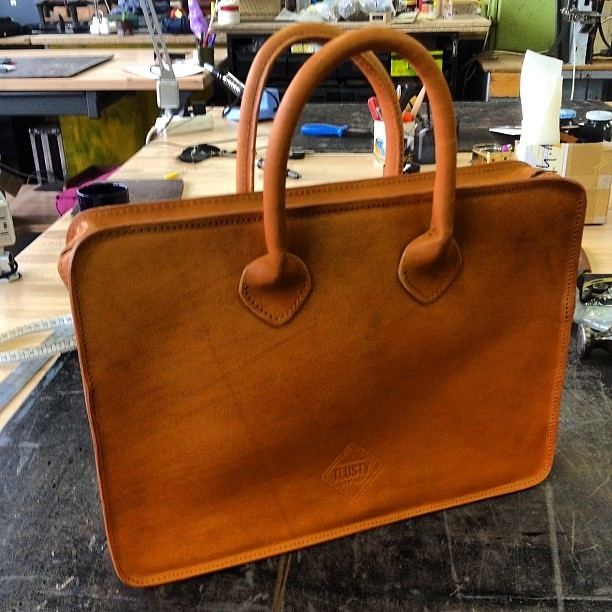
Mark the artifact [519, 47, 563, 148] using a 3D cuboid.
[{"bbox_3d":[0.464,-0.389,1.157,0.070,0.192,0.052,3,-8,1],"label":"artifact"}]
